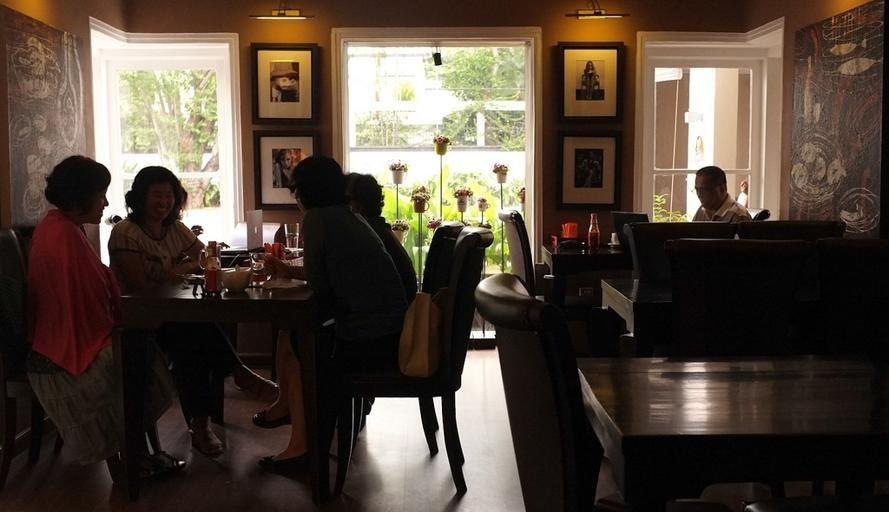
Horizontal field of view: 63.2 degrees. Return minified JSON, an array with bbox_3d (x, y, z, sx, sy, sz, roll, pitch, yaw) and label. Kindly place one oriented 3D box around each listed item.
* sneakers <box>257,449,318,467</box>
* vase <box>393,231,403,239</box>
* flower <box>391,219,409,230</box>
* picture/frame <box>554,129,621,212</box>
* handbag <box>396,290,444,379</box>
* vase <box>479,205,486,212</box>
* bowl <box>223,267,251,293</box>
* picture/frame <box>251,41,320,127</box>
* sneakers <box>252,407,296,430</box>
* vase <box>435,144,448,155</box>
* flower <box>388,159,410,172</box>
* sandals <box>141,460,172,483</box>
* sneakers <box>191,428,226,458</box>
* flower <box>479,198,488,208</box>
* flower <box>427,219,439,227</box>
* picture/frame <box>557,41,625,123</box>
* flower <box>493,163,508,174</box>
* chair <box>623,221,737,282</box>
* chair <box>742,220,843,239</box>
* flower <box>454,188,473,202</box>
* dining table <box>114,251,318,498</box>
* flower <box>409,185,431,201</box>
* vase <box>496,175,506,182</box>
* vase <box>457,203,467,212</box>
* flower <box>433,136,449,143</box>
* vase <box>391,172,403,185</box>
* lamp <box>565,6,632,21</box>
[{"bbox_3d":[-1.043,1.305,4.638,0.464,0.118,0.154,3,-6,0],"label":"sneakers"},{"bbox_3d":[-0.417,-0.187,6.531,0.099,0.081,0.103,5,14,-3],"label":"vase"},{"bbox_3d":[-0.421,-0.288,6.596,0.117,0.055,0.108,5,4,19],"label":"flower"},{"bbox_3d":[1.306,-0.825,6.666,0.860,0.921,0.078,0,6,-2],"label":"picture/frame"},{"bbox_3d":[-0.144,0.478,4.291,0.303,0.477,0.525,9,1,3],"label":"handbag"},{"bbox_3d":[0.364,-0.447,6.808,0.060,0.039,0.057,1,10,1],"label":"vase"},{"bbox_3d":[-1.253,0.140,4.351,0.165,0.100,0.147,1,1,-27],"label":"bowl"},{"bbox_3d":[-1.452,-1.591,6.544,0.830,0.863,0.066,1,4,-5],"label":"picture/frame"},{"bbox_3d":[-1.173,1.112,4.962,0.279,0.090,0.152,4,0,-10],"label":"sneakers"},{"bbox_3d":[-0.033,-0.973,6.586,0.099,0.071,0.097,2,18,7],"label":"vase"},{"bbox_3d":[-0.443,-0.833,6.696,0.135,0.068,0.130,-2,7,-28],"label":"flower"},{"bbox_3d":[-1.826,1.340,4.521,0.122,0.043,0.148,11,37,-21],"label":"sandals"},{"bbox_3d":[-1.560,1.225,4.805,0.260,0.100,0.124,25,8,29],"label":"sneakers"},{"bbox_3d":[0.356,-0.498,6.774,0.091,0.081,0.082,2,10,0],"label":"flower"},{"bbox_3d":[-0.111,-0.314,6.825,0.146,0.061,0.137,0,4,-1],"label":"flower"},{"bbox_3d":[1.312,-1.618,6.590,0.829,0.859,0.074,0,7,1],"label":"picture/frame"},{"bbox_3d":[0.521,-0.814,6.779,0.155,0.116,0.159,0,5,3],"label":"flower"},{"bbox_3d":[1.563,-0.091,4.926,0.630,0.467,0.464,1,9,10],"label":"chair"},{"bbox_3d":[2.325,-0.173,4.886,0.727,0.129,0.250,-2,5,-21],"label":"chair"},{"bbox_3d":[0.165,-0.584,6.709,0.180,0.089,0.103,-2,5,-14],"label":"flower"},{"bbox_3d":[-1.285,0.743,4.629,1.273,1.139,1.253,0,-1,-8],"label":"dining table"},{"bbox_3d":[-0.223,-0.584,6.662,0.171,0.099,0.160,-1,6,-5],"label":"flower"},{"bbox_3d":[0.531,-0.725,6.783,0.081,0.079,0.121,0,5,6],"label":"vase"},{"bbox_3d":[0.161,-0.451,6.696,0.077,0.066,0.073,3,9,12],"label":"vase"},{"bbox_3d":[-0.040,-1.064,6.608,0.149,0.073,0.117,-4,6,-35],"label":"flower"},{"bbox_3d":[-0.430,-0.732,6.693,0.111,0.079,0.099,-3,6,-20],"label":"vase"},{"bbox_3d":[1.376,-2.203,6.523,0.576,0.122,0.174,0,5,4],"label":"lamp"}]
